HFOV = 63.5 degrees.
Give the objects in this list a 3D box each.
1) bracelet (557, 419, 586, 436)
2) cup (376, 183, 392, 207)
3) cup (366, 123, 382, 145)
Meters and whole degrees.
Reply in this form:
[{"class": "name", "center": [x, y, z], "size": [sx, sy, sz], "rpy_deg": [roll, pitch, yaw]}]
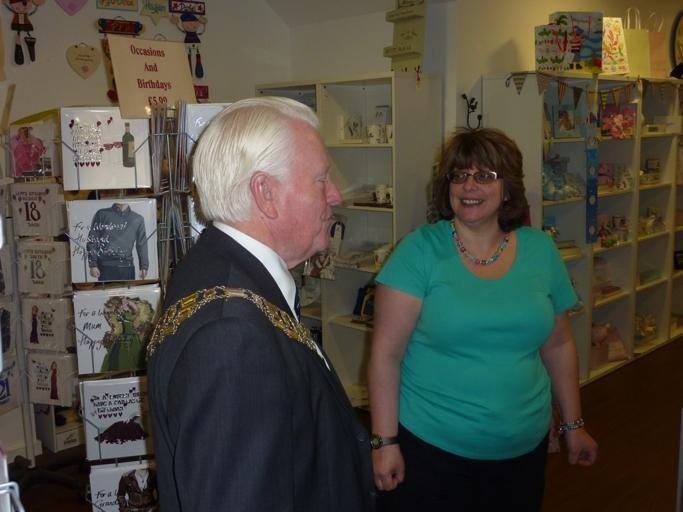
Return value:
[{"class": "bracelet", "center": [0.849, 0.646, 2.068], "size": [0.098, 0.043, 0.091], "rpy_deg": [-20, -28, 23]}, {"class": "cup", "center": [0.295, -0.432, 3.904], "size": [0.132, 0.130, 0.112], "rpy_deg": [0, 8, 3]}, {"class": "cup", "center": [0.227, -0.856, 3.901], "size": [0.120, 0.150, 0.119], "rpy_deg": [0, 0, 0]}]
